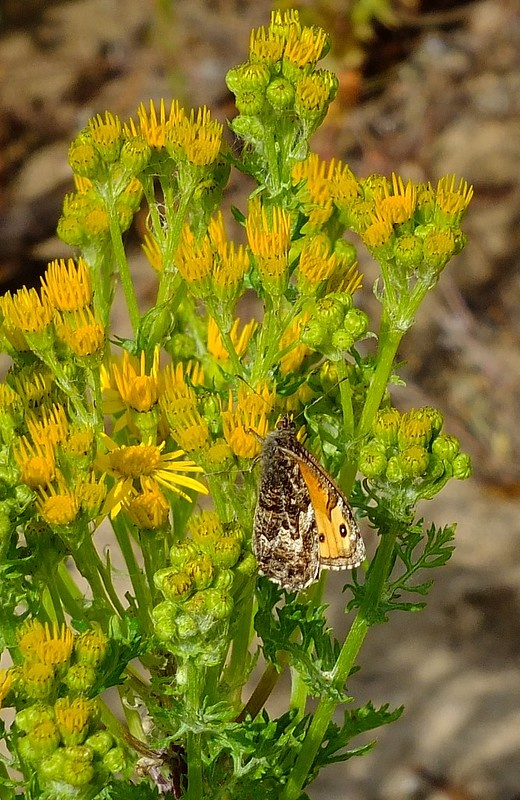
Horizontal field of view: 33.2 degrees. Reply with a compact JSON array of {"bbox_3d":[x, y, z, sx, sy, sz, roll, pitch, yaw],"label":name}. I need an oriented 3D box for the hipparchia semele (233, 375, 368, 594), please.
[{"bbox_3d":[0.046,0.088,0.904,0.056,0.196,0.131,20,38,38],"label":"hipparchia semele"}]
